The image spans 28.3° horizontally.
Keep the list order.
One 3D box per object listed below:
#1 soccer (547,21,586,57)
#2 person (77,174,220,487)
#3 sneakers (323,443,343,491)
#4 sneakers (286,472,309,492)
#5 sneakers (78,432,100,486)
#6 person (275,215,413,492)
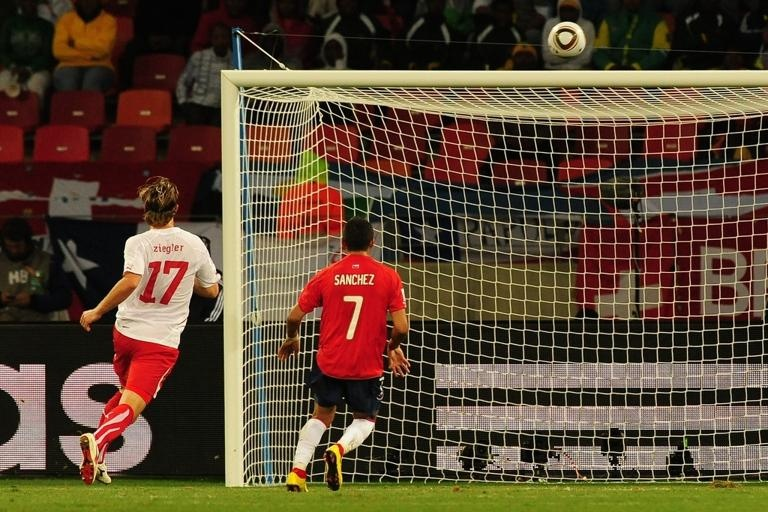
[{"bbox_3d":[1.714,-2.049,14.312,0.318,0.343,0.282,1,-9,8],"label":"soccer"},{"bbox_3d":[-2.130,0.679,13.726,1.164,2.763,0.490,4,-10,-10],"label":"person"},{"bbox_3d":[-0.420,1.895,13.545,0.162,0.387,0.191,-2,1,11],"label":"sneakers"},{"bbox_3d":[-0.783,2.046,13.674,0.224,0.246,0.144,3,8,10],"label":"sneakers"},{"bbox_3d":[-2.572,1.824,13.491,0.178,0.422,0.218,-2,1,1],"label":"sneakers"},{"bbox_3d":[-0.358,0.903,13.781,1.093,2.477,0.586,3,-9,-3],"label":"person"}]
